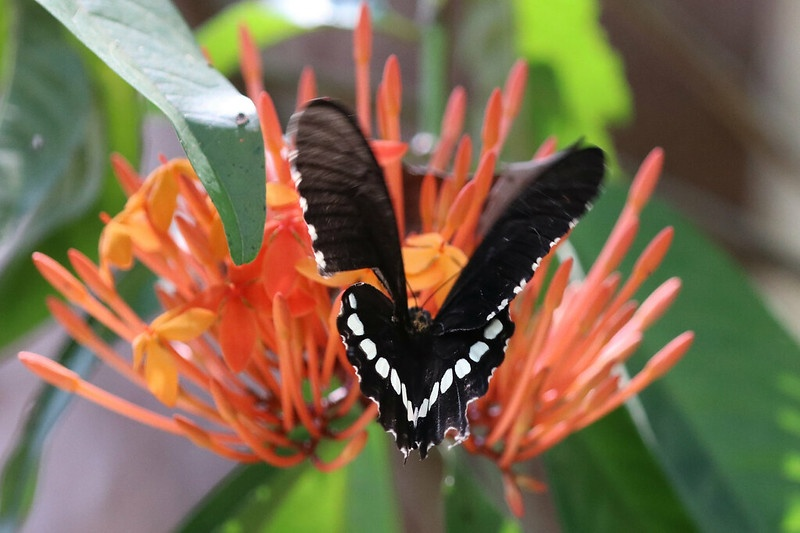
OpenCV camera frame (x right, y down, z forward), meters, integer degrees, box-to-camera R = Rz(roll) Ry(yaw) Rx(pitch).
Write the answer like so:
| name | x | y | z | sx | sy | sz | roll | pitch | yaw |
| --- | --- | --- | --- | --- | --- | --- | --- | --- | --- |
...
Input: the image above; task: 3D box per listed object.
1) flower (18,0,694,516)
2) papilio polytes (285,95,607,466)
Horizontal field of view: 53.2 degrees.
| name | x | y | z | sx | sy | sz | roll | pitch | yaw |
| --- | --- | --- | --- | --- | --- | --- | --- | --- | --- |
| flower | -0.102 | -0.007 | 1.003 | 0.600 | 0.443 | 0.687 | -19 | 41 | -25 |
| papilio polytes | 0.058 | -0.026 | 0.869 | 0.316 | 0.287 | 0.277 | -27 | 51 | -28 |
